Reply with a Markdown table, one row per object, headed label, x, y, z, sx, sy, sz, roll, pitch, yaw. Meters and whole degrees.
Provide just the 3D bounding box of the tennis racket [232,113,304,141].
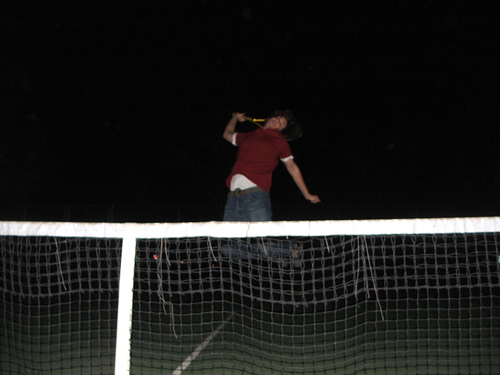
| label | x | y | z | sx | sy | sz | roll | pitch | yaw |
| --- | --- | --- | --- | --- | --- | --- | --- | --- | --- |
| tennis racket | 0.358 | -1.344 | 11.296 | 0.585 | 0.596 | 1.754 | -19 | 22 | -40 |
